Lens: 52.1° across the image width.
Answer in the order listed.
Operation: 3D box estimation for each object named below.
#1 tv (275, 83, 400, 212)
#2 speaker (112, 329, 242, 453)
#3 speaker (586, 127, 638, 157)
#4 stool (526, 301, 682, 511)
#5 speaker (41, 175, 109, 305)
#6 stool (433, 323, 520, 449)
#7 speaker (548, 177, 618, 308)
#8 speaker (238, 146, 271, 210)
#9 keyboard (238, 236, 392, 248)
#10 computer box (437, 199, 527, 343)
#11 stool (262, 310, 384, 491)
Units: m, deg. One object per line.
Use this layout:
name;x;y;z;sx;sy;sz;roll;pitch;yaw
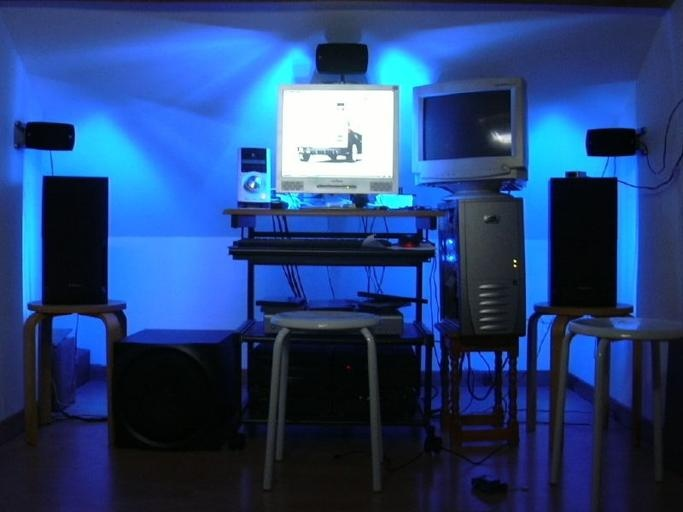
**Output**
tv;-0.018;-0.590;3.664;0.742;0.652;0.282;1;1;-1
speaker;-0.799;0.661;3.577;0.559;0.514;0.582;0;-3;1
speaker;1.414;-0.593;3.644;0.259;0.182;0.148;2;6;24
stool;1.137;0.615;3.184;0.715;0.874;0.804;-1;1;-15
speaker;-1.313;-0.073;3.440;0.311;0.616;0.150;-1;15;-4
stool;0.562;0.673;3.657;0.464;0.660;0.557;0;-2;0
speaker;1.193;-0.066;3.448;0.323;0.622;0.185;1;15;3
speaker;-0.470;-0.435;3.752;0.162;0.272;0.100;0;15;0
keyboard;-0.154;-0.061;3.303;0.718;0.054;0.059;1;15;1
computer box;0.644;0.057;3.602;0.570;0.770;0.568;-1;0;30
stool;-0.110;0.603;3.209;0.633;0.874;0.715;0;-4;0
